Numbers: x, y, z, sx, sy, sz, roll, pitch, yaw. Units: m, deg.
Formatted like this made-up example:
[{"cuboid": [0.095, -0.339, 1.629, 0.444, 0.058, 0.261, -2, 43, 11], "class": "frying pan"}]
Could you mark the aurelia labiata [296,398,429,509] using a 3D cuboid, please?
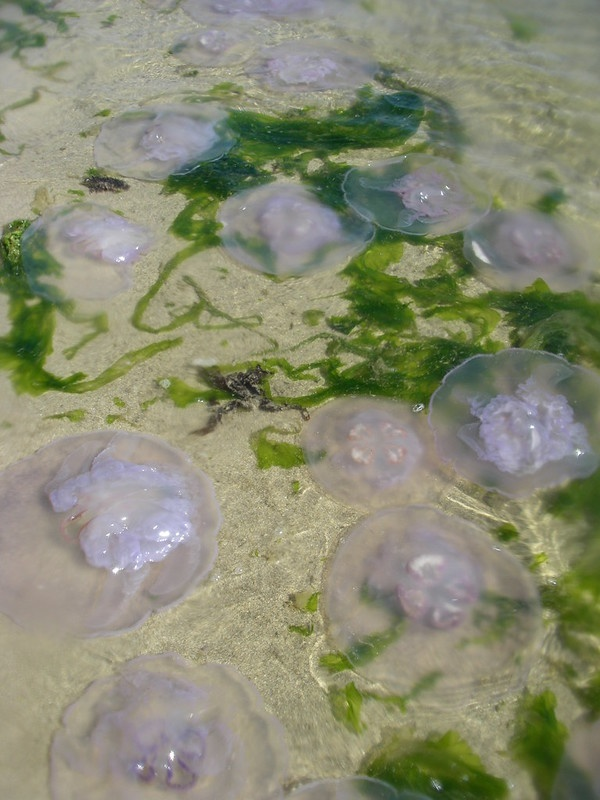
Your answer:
[{"cuboid": [0.427, 0.243, 4.545, 0.821, 0.632, 0.089, 13, 7, 31], "class": "aurelia labiata"}]

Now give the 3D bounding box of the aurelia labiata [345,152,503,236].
[{"cuboid": [0.846, -1.420, 5.789, 0.815, 0.036, 0.756, -21, 46, -24], "class": "aurelia labiata"}]

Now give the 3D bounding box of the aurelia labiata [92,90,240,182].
[{"cuboid": [-0.973, -1.917, 6.123, 0.963, 0.118, 0.679, -29, 57, -22], "class": "aurelia labiata"}]

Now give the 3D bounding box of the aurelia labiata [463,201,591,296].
[{"cuboid": [1.521, -0.962, 5.539, 0.702, 0.077, 0.613, 39, 63, 19], "class": "aurelia labiata"}]
